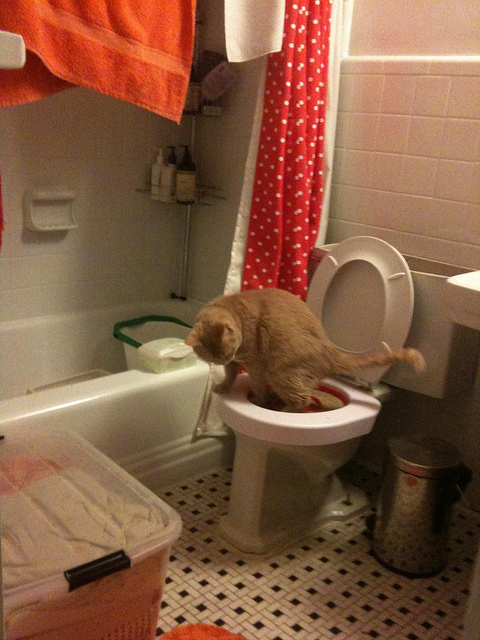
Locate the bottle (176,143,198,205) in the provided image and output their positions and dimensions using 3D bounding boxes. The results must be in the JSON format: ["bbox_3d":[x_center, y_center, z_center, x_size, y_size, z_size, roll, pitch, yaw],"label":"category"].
[{"bbox_3d":[-0.229,-0.637,2.224,0.091,0.259,0.246,2,14,-7],"label":"bottle"}]

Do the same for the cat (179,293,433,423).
[{"bbox_3d":[0.260,0.014,1.601,0.882,0.407,0.273,-9,21,-23],"label":"cat"}]

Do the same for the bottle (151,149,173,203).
[{"bbox_3d":[-0.345,-0.621,2.187,0.111,0.206,0.061,0,11,-34],"label":"bottle"}]

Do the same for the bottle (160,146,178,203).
[{"bbox_3d":[-0.308,-0.634,2.212,0.070,0.240,0.189,2,14,-9],"label":"bottle"}]

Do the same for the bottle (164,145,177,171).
[{"bbox_3d":[-0.297,-0.700,2.199,0.050,0.116,0.187,2,14,-10],"label":"bottle"}]

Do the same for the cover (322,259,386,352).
[{"bbox_3d":[0.367,-0.049,1.624,0.059,0.271,0.210,-4,18,-36],"label":"cover"}]

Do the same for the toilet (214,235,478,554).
[{"bbox_3d":[0.151,0.200,1.671,0.853,0.950,0.455,-9,22,-38],"label":"toilet"}]

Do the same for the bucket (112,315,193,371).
[{"bbox_3d":[-0.406,0.043,2.195,0.327,0.244,0.296,-13,24,-37],"label":"bucket"}]

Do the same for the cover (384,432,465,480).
[{"bbox_3d":[0.513,0.371,1.496,0.188,0.096,0.217,3,17,10],"label":"cover"}]
